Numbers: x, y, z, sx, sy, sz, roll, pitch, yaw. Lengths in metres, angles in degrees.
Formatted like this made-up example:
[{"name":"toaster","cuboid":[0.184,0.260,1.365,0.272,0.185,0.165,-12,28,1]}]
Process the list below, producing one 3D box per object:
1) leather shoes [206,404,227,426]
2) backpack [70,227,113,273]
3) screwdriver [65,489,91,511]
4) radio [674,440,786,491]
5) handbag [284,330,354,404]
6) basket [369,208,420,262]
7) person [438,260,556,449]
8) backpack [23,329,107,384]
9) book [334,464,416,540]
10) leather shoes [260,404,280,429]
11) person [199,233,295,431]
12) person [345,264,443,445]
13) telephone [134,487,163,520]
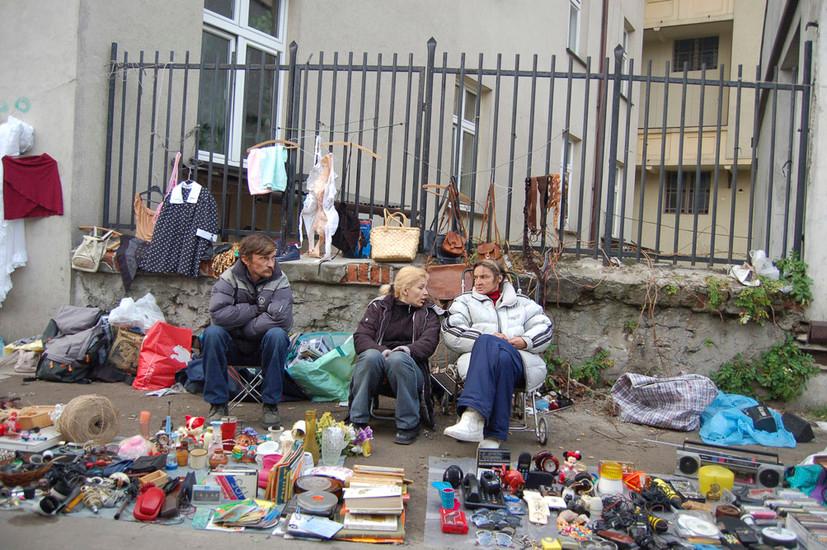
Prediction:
[{"name":"leather shoes","cuboid":[-1.990,1.379,8.119,0.122,0.252,0.346,2,-13,-1]},{"name":"backpack","cuboid":[-4.171,-0.277,10.263,0.402,0.217,0.556,4,32,-22]},{"name":"screwdriver","cuboid":[-2.803,1.868,6.704,0.122,0.053,0.173,22,53,35]},{"name":"radio","cuboid":[2.882,1.684,7.279,0.970,0.296,0.213,4,3,7]},{"name":"handbag","cuboid":[-1.013,0.983,8.864,0.615,0.807,0.336,5,-4,4]},{"name":"basket","cuboid":[-0.215,-0.459,9.812,0.721,0.788,0.465,1,3,1]},{"name":"person","cuboid":[0.817,0.720,8.010,1.039,1.833,1.473,1,-2,1]},{"name":"backpack","cuboid":[-3.961,0.885,9.302,0.750,0.631,0.261,4,3,0]},{"name":"book","cuboid":[-0.327,1.890,6.755,0.581,0.475,0.562,4,3,-1]},{"name":"leather shoes","cuboid":[-1.441,1.395,8.136,0.183,0.200,0.339,3,3,-11]},{"name":"person","cuboid":[-1.621,0.614,8.589,0.892,1.961,0.994,0,-9,3]},{"name":"person","cuboid":[-0.173,0.750,8.020,0.876,1.687,0.585,3,3,-4]},{"name":"telephone","cuboid":[-2.195,1.886,6.687,0.227,0.113,0.327,9,31,-5]}]
